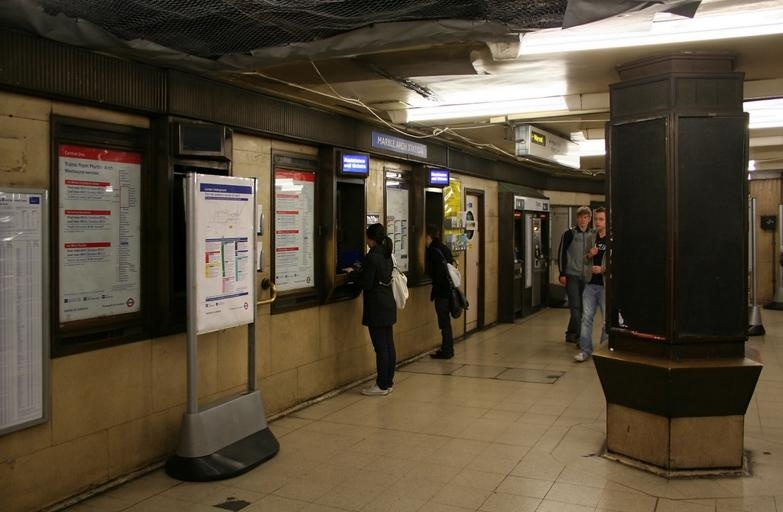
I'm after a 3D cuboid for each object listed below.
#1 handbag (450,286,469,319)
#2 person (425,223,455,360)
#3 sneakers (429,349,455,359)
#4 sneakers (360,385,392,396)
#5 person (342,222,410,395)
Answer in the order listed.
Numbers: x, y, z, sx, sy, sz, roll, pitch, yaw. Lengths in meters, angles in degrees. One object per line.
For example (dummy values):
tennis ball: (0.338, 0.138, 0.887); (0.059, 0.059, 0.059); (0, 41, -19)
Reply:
handbag: (1.059, 0.745, 8.886); (0.241, 0.540, 0.334); (0, 5, 5)
person: (0.751, 0.588, 8.956); (0.427, 2.143, 0.456); (-1, 5, 2)
sneakers: (0.813, 1.606, 9.133); (0.420, 0.159, 0.143); (4, 1, 22)
sneakers: (-0.209, 1.744, 7.289); (0.400, 0.148, 0.144); (4, -1, 6)
person: (-0.222, 0.687, 7.211); (0.563, 2.193, 0.291); (-2, 5, -10)
